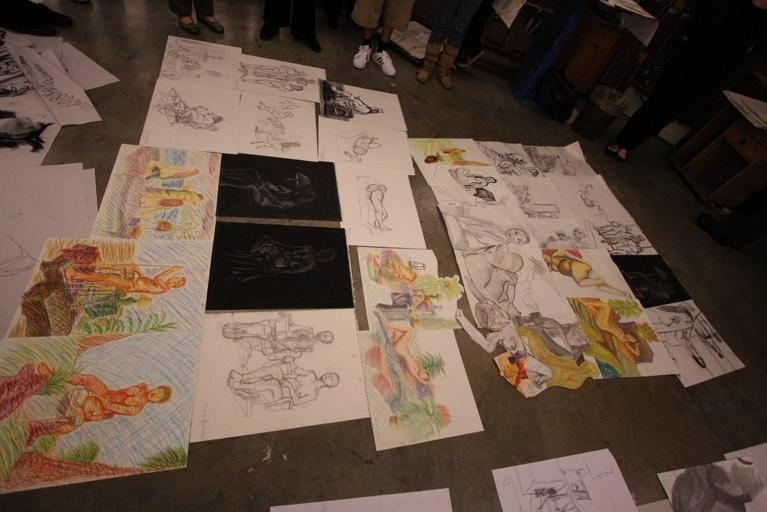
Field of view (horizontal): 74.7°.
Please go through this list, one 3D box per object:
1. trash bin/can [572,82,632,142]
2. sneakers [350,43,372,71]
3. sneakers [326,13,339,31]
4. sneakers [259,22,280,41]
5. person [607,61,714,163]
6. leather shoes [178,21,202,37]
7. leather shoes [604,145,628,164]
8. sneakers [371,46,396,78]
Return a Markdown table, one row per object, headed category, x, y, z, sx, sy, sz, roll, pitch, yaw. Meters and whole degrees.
| category | x | y | z | sx | sy | sz | roll | pitch | yaw |
| --- | --- | --- | --- | --- | --- | --- | --- | --- | --- |
| trash bin/can | 1.945 | -1.275 | 4.587 | 0.303 | 0.441 | 0.370 | 44 | 32 | 16 |
| sneakers | -0.177 | -1.684 | 4.296 | 0.102 | 0.108 | 0.276 | 24 | 66 | -6 |
| sneakers | -0.445 | -2.064 | 4.464 | 0.078 | 0.150 | 0.156 | 2 | 82 | -5 |
| sneakers | -0.938 | -1.845 | 4.131 | 0.052 | 0.154 | 0.107 | 39 | 17 | -3 |
| person | 2.345 | -1.201 | 4.243 | 0.378 | 0.935 | 0.306 | 37 | 48 | 15 |
| leather shoes | -1.512 | -1.793 | 3.966 | 0.190 | 0.050 | 0.075 | 32 | 85 | -11 |
| leather shoes | 2.078 | -0.921 | 4.535 | 0.206 | 0.073 | 0.114 | 36 | 84 | 7 |
| sneakers | 0.008 | -1.675 | 4.329 | 0.121 | 0.139 | 0.325 | -37 | 81 | -10 |
